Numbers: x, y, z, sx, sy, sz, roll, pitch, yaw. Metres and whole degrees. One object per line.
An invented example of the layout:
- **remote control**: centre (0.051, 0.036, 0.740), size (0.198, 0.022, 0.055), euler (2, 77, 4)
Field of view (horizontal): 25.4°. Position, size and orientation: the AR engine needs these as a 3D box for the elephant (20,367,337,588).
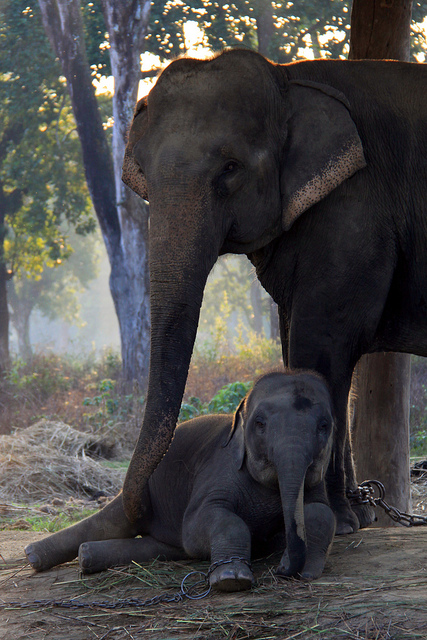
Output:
- **elephant**: centre (-0.037, 0.575, 3.332), size (0.826, 0.663, 1.300), euler (11, -20, -38)
